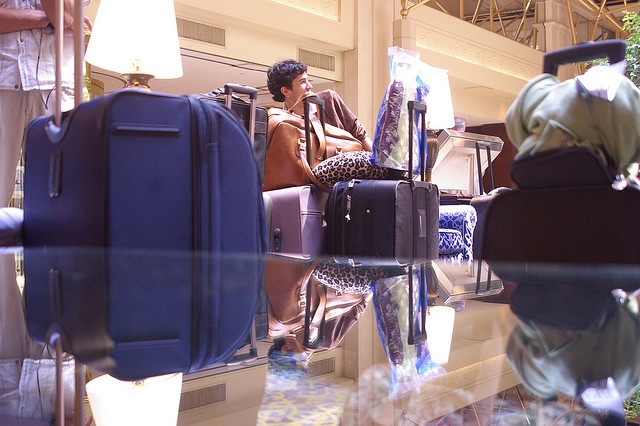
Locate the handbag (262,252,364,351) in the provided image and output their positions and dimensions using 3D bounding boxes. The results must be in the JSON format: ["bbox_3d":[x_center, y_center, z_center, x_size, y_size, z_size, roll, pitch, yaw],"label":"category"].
[{"bbox_3d":[-0.007,0.109,0.598,0.094,0.105,0.069,10,0,-27],"label":"handbag"}]

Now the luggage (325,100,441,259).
[{"bbox_3d":[0.289,-0.091,2.034,0.419,0.680,0.466,0,4,19],"label":"luggage"}]

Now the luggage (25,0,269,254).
[{"bbox_3d":[-0.267,-0.172,1.083,0.386,0.381,0.437,9,32,0],"label":"luggage"}]

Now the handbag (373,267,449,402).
[{"bbox_3d":[0.097,0.127,0.528,0.067,0.147,0.017,-18,18,-20],"label":"handbag"}]

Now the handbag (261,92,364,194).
[{"bbox_3d":[-0.077,-0.354,2.285,0.255,0.477,0.538,-1,0,40],"label":"handbag"}]

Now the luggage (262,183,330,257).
[{"bbox_3d":[-0.123,0.056,2.163,0.231,0.333,0.316,2,-1,26],"label":"luggage"}]
